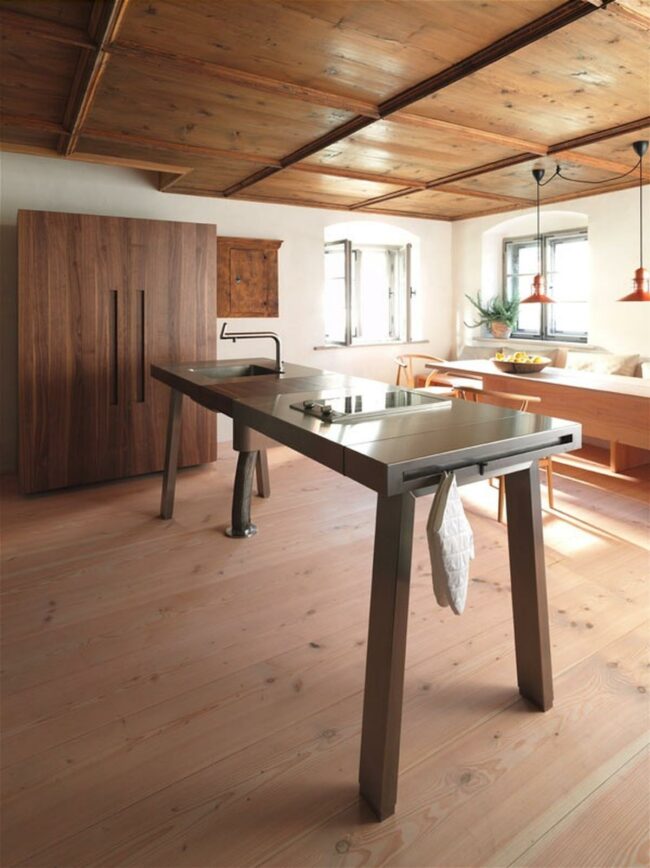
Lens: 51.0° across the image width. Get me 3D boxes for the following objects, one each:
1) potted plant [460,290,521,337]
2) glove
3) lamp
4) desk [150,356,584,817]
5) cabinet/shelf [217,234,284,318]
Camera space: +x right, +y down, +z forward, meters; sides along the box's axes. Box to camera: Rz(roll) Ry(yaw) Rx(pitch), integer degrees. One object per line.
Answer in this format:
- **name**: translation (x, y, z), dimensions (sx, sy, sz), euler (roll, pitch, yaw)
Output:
- **potted plant**: translation (1.710, -1.225, 6.956), dimensions (0.535, 0.397, 0.434), euler (-4, 10, -6)
- **glove**: translation (0.332, 0.320, 1.791), dimensions (0.103, 0.434, 0.203), euler (6, 15, 25)
- **lamp**: translation (2.063, -1.666, 5.342), dimensions (0.319, 1.090, 1.223), euler (-11, 13, -42)
- **desk**: translation (-0.075, 0.209, 2.784), dimensions (0.689, 0.847, 1.988), euler (-12, 21, -30)
- **cabinet/shelf**: translation (-0.741, -1.357, 5.925), dimensions (0.700, 0.632, 0.260), euler (-10, 17, -40)
